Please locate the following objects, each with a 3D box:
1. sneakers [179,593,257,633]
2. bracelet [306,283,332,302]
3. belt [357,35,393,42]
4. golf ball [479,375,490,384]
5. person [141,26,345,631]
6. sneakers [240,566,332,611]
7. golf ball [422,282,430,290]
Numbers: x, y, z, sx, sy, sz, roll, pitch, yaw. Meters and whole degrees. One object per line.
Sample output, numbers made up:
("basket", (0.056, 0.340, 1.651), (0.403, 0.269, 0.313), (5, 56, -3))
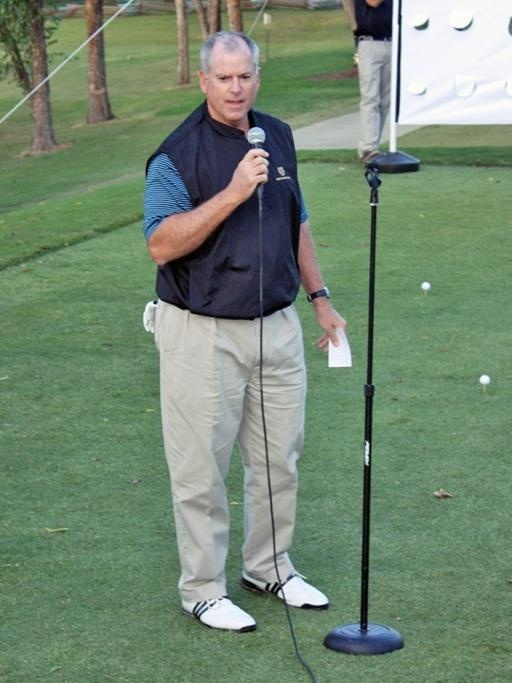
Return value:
("sneakers", (-0.111, 0.860, 4.044), (0.198, 0.069, 0.096), (4, 5, 33))
("bracelet", (0.212, -0.155, 4.275), (0.073, 0.039, 0.069), (-13, -6, -5))
("belt", (0.849, -2.244, 9.466), (0.311, 0.058, 0.144), (11, 23, 39))
("golf ball", (1.048, 0.171, 5.820), (0.041, 0.021, 0.040), (-4, 30, 2))
("person", (-0.029, -0.035, 4.048), (0.773, 1.828, 0.547), (-17, 23, -28))
("sneakers", (0.090, 0.822, 4.256), (0.307, 0.104, 0.105), (7, 4, 22))
("golf ball", (0.958, -0.310, 7.137), (0.042, 0.029, 0.052), (-1, 1, 0))
